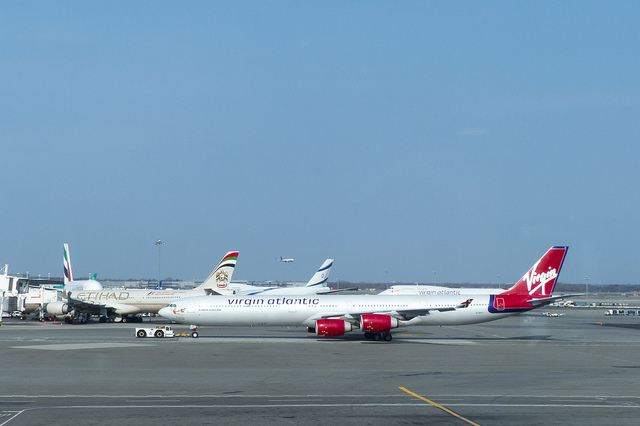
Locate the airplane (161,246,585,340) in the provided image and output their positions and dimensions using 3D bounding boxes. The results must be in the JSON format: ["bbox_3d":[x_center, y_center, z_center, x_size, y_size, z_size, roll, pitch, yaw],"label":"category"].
[{"bbox_3d":[5.498,10.537,125.129,46.823,12.513,11.187,0,-4,-3],"label":"airplane"}]

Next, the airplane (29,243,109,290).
[{"bbox_3d":[-36.677,9.507,166.946,10.656,3.880,9.618,2,-6,-15],"label":"airplane"}]
